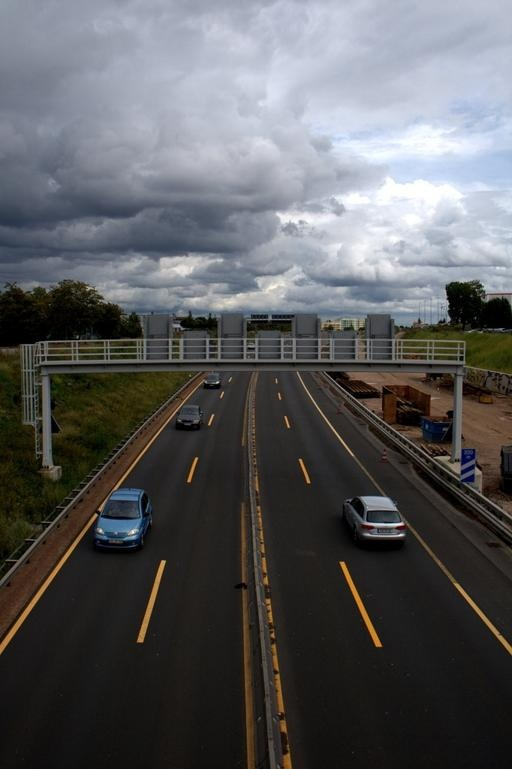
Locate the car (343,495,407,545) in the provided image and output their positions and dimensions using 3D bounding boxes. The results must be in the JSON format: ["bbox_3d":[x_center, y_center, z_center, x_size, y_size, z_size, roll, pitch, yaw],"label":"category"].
[{"bbox_3d":[3.386,3.863,16.554,0.837,0.777,2.075,0,7,-3],"label":"car"}]

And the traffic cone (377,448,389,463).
[{"bbox_3d":[6.165,3.589,27.161,0.475,0.596,0.485,-4,30,3],"label":"traffic cone"}]

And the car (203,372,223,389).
[{"bbox_3d":[-4.206,-0.290,52.895,1.575,1.205,2.094,-2,7,-6],"label":"car"}]

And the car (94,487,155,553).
[{"bbox_3d":[-3.830,3.838,16.152,0.951,0.910,1.737,1,5,2],"label":"car"}]
